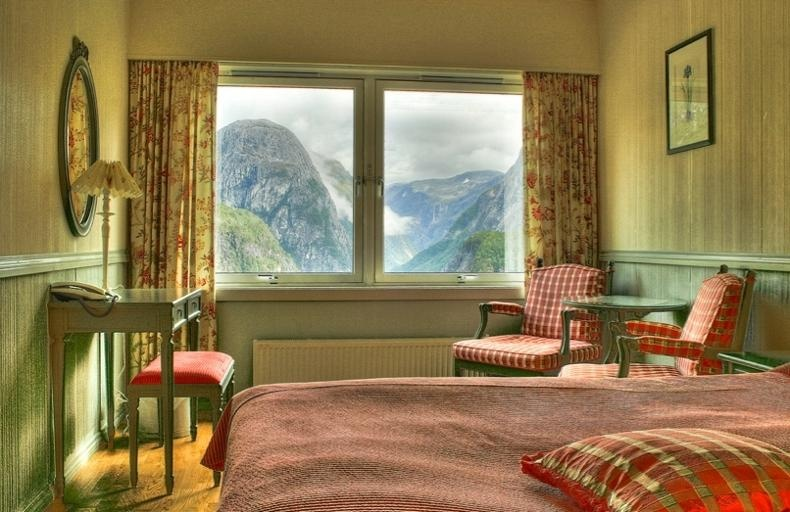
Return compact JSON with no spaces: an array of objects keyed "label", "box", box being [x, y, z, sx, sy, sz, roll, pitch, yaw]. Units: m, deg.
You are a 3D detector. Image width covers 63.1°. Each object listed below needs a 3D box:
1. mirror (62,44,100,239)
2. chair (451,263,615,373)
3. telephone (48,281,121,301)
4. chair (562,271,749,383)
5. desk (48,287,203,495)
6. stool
[{"label":"mirror","box":[-1.986,-0.744,4.060,0.102,0.884,0.490,-2,1,-9]},{"label":"chair","box":[0.995,0.556,4.623,1.066,1.016,0.956,1,0,-19]},{"label":"telephone","box":[-1.784,0.205,3.698,0.367,0.081,0.170,-2,2,-21]},{"label":"chair","box":[1.605,0.430,4.174,0.976,1.003,0.671,2,-5,9]},{"label":"desk","box":[-1.534,0.768,4.514,0.823,1.077,1.646,1,1,6]},{"label":"stool","box":[-1.375,0.986,4.252,0.573,0.637,0.918,-2,0,-10]}]
